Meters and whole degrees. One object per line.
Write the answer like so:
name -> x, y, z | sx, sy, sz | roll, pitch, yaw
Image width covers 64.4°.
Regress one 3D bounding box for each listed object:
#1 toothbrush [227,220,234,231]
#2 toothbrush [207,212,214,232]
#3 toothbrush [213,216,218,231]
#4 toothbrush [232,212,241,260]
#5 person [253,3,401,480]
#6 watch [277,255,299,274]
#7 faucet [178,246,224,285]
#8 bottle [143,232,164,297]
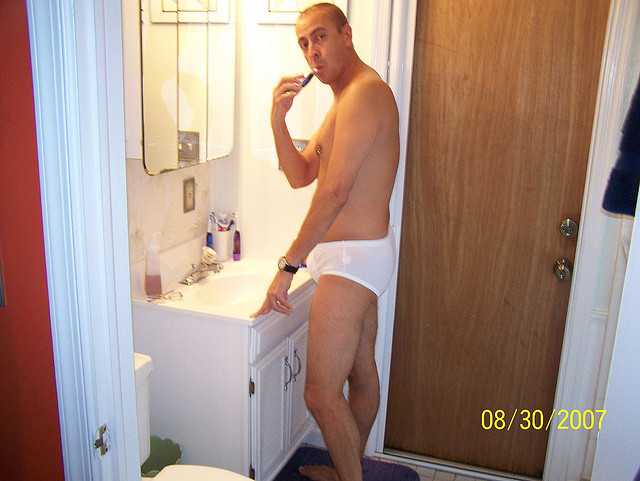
toothbrush -> -0.439, -0.074, 2.459 | 0.020, 0.057, 0.012 | 25, -12, -38
toothbrush -> -0.544, -0.096, 2.488 | 0.028, 0.093, 0.083 | -5, 16, -27
toothbrush -> -0.507, -0.085, 2.445 | 0.026, 0.067, 0.016 | 4, 13, 7
toothbrush -> -0.420, -0.026, 2.540 | 0.040, 0.229, 0.082 | 0, 13, -9
person -> 0.036, 0.100, 2.091 | 0.533, 2.022, 0.619 | 5, 14, 12
watch -> -0.128, 0.084, 1.890 | 0.069, 0.053, 0.078 | 24, 17, -26
faucet -> -0.544, 0.118, 2.344 | 0.089, 0.153, 0.260 | 32, 46, 25
bottle -> -0.688, 0.096, 2.081 | 0.076, 0.249, 0.109 | -2, 14, -18
